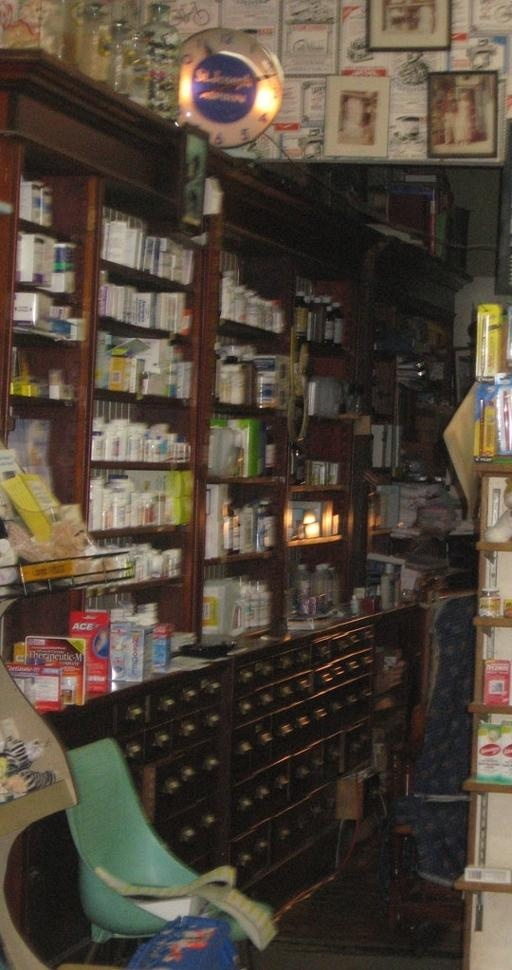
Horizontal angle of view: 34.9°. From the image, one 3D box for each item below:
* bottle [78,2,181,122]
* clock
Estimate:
[{"bbox_3d":[-0.456,-1.529,2.927,0.360,0.321,0.076,1,-2,-26],"label":"bottle"},{"bbox_3d":[-0.102,-1.510,3.090,0.386,0.381,0.199,0,-2,-5],"label":"clock"}]
